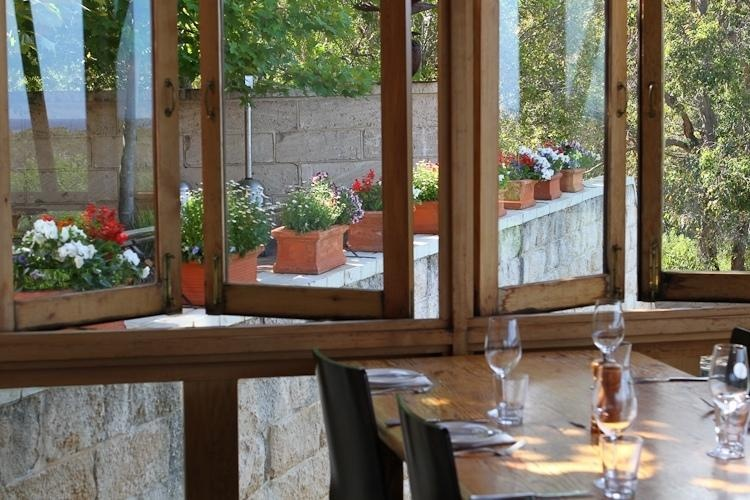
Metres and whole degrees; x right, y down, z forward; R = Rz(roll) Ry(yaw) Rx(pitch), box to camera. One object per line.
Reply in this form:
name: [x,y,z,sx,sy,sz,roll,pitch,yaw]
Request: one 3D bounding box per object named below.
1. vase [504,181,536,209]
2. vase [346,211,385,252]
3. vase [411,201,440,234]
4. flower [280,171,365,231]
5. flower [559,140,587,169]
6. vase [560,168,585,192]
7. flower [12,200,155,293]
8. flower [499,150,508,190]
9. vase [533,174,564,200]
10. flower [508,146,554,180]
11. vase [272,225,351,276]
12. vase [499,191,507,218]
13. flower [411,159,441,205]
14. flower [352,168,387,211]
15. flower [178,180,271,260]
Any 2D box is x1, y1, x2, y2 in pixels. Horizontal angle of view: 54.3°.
vase: [0.658,-0.253,3.355,0.152,0.134,0.127,1,-1,-44]
vase: [-0.031,-0.080,3.241,0.188,0.190,0.158,-1,-4,6]
vase: [0.227,-0.150,3.461,0.162,0.168,0.135,-1,-8,1]
flower: [-0.261,-0.194,3.275,0.277,0.184,0.290,2,0,3]
flower: [0.918,-0.447,3.398,0.128,0.140,0.114,-8,14,-27]
vase: [0.920,-0.318,3.426,0.097,0.109,0.122,1,2,37]
flower: [-1.282,-0.066,3.147,0.423,0.297,0.381,-2,6,-45]
flower: [0.567,-0.365,3.296,0.057,0.176,0.031,-10,17,-38]
vase: [0.803,-0.293,3.408,0.136,0.126,0.112,0,1,10]
flower: [0.709,-0.382,3.403,0.163,0.156,0.119,13,-3,-4]
vase: [-0.298,0.008,3.274,0.202,0.189,0.299,-1,-3,25]
vase: [0.571,-0.213,3.296,0.032,0.108,0.059,3,14,9]
flower: [0.232,-0.321,3.424,0.171,0.206,0.152,0,2,-4]
flower: [-0.037,-0.270,3.220,0.138,0.181,0.031,8,15,26]
flower: [-0.675,-0.134,3.407,0.336,0.244,0.354,2,2,2]
